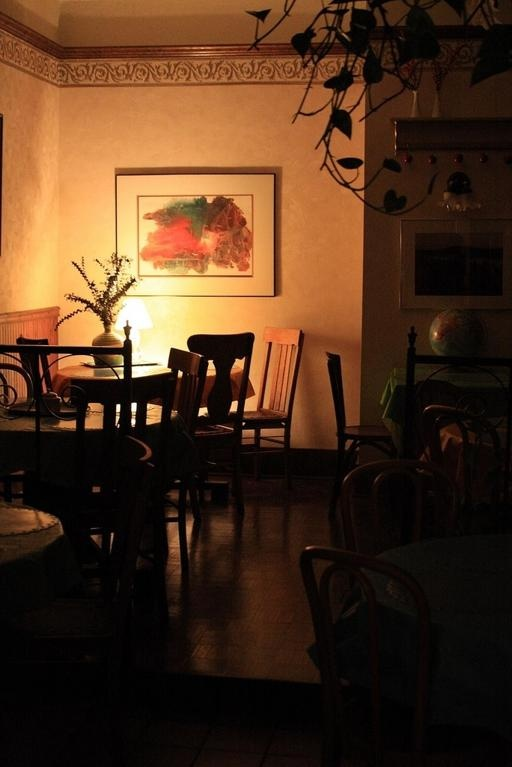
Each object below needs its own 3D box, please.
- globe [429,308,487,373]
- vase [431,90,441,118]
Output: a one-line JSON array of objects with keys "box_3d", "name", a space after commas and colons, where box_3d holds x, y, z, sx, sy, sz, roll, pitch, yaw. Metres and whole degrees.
[{"box_3d": [1.211, -0.259, 3.816, 0.286, 0.429, 0.331, -4, 15, 6], "name": "globe"}, {"box_3d": [1.267, -1.965, 4.420, 0.057, 0.216, 0.130, 0, 4, 17], "name": "vase"}]
